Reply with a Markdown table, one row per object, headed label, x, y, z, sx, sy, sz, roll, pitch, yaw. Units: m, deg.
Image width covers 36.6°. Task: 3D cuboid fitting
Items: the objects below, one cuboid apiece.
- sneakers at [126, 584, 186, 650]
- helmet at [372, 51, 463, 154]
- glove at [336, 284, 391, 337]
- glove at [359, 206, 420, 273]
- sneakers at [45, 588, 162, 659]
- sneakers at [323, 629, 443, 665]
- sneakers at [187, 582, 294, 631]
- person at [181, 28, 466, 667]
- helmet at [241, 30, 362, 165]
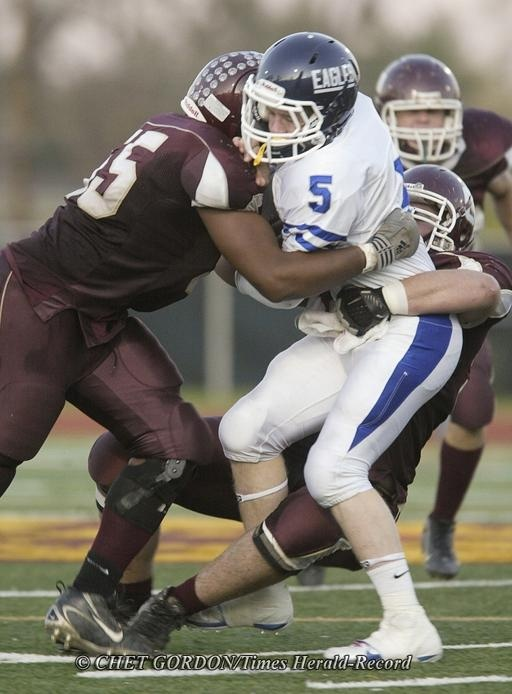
| label | x | y | z | sx | sy | sz | roll | pitch | yaw |
| --- | --- | --- | --- | --- | --- | --- | --- | --- | --- |
| sneakers | -0.181 | 0.536 | 1.575 | 0.062 | 0.068 | 0.163 | 38 | 30 | 4 |
| helmet | 0.649 | -0.987 | 3.143 | 0.377 | 0.338 | 0.444 | -5 | 30 | -5 |
| glove | 0.211 | -0.077 | 1.564 | 0.121 | 0.080 | 0.056 | -19 | -5 | 40 |
| glove | 0.277 | -0.215 | 1.559 | 0.178 | 0.063 | 0.075 | -37 | 26 | -25 |
| sneakers | -0.324 | 0.556 | 1.530 | 0.111 | 0.272 | 0.129 | -18 | 47 | 23 |
| sneakers | 0.246 | 0.547 | 1.409 | 0.243 | 0.079 | 0.069 | 3 | -15 | -2 |
| sneakers | -0.005 | 0.543 | 1.671 | 0.201 | 0.109 | 0.061 | 17 | -12 | -27 |
| person | 0.091 | -0.013 | 1.654 | 0.658 | 1.198 | 0.518 | 3 | -2 | 14 |
| helmet | 0.082 | -0.491 | 1.524 | 0.212 | 0.259 | 0.198 | 3 | 14 | 13 |
